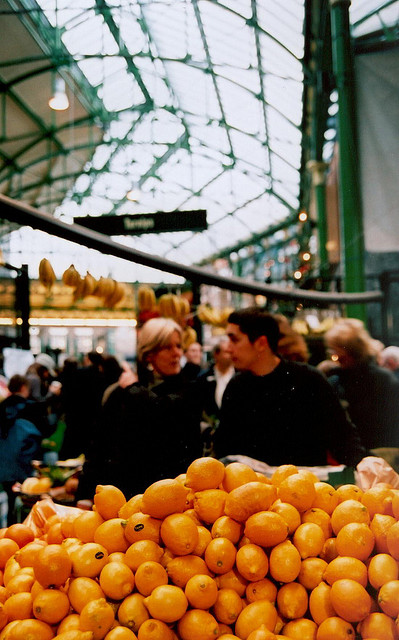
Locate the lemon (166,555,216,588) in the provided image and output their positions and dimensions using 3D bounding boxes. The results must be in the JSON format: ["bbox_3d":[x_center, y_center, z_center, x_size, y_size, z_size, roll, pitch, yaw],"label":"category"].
[{"bbox_3d":[-0.032,0.699,1.917,0.109,0.068,0.074,14,12,2],"label":"lemon"}]

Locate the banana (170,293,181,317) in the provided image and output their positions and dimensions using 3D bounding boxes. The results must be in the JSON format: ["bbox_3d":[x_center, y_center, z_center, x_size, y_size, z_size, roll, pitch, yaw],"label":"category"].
[{"bbox_3d":[-0.129,-0.073,3.530,0.034,0.094,0.068,-10,12,-21],"label":"banana"}]

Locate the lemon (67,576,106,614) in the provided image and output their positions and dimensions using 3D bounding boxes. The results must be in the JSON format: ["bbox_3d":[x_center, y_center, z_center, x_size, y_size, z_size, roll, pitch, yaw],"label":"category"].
[{"bbox_3d":[-0.328,0.761,1.897,0.097,0.075,0.075,33,18,21],"label":"lemon"}]

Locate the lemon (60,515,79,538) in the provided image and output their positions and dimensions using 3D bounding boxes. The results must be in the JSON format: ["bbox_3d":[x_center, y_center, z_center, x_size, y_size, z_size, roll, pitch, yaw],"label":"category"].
[{"bbox_3d":[-0.419,0.659,2.183,0.066,0.079,0.068,1,-2,6],"label":"lemon"}]

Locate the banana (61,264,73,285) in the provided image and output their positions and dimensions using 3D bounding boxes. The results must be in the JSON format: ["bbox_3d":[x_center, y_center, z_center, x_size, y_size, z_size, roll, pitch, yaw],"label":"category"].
[{"bbox_3d":[-0.653,-0.215,3.269,0.052,0.096,0.083,-5,0,-43],"label":"banana"}]

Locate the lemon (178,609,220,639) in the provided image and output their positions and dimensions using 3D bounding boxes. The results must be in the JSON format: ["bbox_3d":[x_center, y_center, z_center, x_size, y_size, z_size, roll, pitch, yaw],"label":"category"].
[{"bbox_3d":[-0.004,0.823,1.825,0.088,0.070,0.068,5,7,8],"label":"lemon"}]

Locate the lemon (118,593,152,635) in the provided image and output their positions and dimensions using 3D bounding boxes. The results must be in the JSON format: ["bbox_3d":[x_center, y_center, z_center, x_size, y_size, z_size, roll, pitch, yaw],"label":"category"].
[{"bbox_3d":[-0.174,0.800,1.861,0.068,0.072,0.091,23,-4,2],"label":"lemon"}]

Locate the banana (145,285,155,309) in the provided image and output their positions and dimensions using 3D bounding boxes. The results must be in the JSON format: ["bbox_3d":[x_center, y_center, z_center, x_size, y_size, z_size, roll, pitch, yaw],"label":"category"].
[{"bbox_3d":[-0.261,-0.127,3.535,0.031,0.094,0.069,2,1,-4],"label":"banana"}]

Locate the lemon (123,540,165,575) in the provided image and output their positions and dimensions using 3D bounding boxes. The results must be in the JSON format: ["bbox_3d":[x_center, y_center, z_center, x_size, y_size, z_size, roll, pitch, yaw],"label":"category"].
[{"bbox_3d":[-0.166,0.679,1.936,0.098,0.079,0.077,-3,-34,0],"label":"lemon"}]

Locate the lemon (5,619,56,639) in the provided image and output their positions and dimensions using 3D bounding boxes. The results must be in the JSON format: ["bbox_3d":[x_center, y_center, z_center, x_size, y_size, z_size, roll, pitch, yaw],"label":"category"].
[{"bbox_3d":[-0.460,0.827,1.836,0.058,0.061,0.080,-15,-21,35],"label":"lemon"}]

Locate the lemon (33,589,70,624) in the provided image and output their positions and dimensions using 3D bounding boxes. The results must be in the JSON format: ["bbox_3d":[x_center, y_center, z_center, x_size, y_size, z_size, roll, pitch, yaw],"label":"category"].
[{"bbox_3d":[-0.415,0.788,1.868,0.074,0.075,0.095,-23,-31,30],"label":"lemon"}]

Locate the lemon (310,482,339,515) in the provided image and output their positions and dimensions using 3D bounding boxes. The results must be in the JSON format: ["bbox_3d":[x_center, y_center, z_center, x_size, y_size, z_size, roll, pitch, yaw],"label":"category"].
[{"bbox_3d":[0.399,0.562,2.132,0.085,0.103,0.087,10,-2,21],"label":"lemon"}]

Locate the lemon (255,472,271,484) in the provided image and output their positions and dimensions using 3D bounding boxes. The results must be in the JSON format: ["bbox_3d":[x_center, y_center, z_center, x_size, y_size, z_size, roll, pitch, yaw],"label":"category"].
[{"bbox_3d":[0.209,0.531,2.249,0.042,0.051,0.043,-15,8,-1],"label":"lemon"}]

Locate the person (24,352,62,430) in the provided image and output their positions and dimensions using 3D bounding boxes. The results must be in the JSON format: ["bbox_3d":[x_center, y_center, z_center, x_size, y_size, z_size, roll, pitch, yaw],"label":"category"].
[{"bbox_3d":[-1.404,0.758,6.057,0.286,0.803,0.251,2,15,16],"label":"person"}]

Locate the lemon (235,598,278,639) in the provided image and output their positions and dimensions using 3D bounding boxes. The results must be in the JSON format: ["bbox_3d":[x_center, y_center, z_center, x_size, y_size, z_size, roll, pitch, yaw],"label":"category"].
[{"bbox_3d":[0.153,0.805,1.867,0.108,0.067,0.078,-25,-7,-14],"label":"lemon"}]

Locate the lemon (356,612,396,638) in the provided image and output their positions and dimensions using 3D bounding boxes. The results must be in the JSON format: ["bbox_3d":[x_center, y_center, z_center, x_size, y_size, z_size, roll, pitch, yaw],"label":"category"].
[{"bbox_3d":[0.480,0.826,1.826,0.080,0.062,0.061,-22,25,22],"label":"lemon"}]

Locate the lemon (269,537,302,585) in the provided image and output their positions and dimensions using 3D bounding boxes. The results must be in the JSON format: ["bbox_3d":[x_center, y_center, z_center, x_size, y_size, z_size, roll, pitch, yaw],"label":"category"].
[{"bbox_3d":[0.240,0.685,1.919,0.082,0.119,0.065,-5,0,-26],"label":"lemon"}]

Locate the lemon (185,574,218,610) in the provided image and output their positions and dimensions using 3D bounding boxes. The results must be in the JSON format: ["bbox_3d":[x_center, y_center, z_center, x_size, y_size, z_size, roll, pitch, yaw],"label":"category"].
[{"bbox_3d":[0.000,0.735,1.866,0.086,0.102,0.086,-4,-11,-21],"label":"lemon"}]

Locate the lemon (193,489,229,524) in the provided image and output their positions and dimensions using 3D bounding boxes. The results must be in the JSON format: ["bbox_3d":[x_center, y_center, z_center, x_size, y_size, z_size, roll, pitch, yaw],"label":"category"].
[{"bbox_3d":[0.031,0.558,2.036,0.104,0.084,0.078,7,-8,-20],"label":"lemon"}]

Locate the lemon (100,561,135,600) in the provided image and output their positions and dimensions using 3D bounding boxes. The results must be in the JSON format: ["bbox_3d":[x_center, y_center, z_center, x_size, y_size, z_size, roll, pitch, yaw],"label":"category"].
[{"bbox_3d":[-0.233,0.728,1.896,0.092,0.110,0.091,-1,-10,-15],"label":"lemon"}]

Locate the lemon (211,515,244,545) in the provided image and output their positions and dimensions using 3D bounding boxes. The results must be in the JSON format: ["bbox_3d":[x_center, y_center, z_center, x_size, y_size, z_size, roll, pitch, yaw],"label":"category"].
[{"bbox_3d":[0.081,0.610,1.979,0.076,0.092,0.079,4,-46,2],"label":"lemon"}]

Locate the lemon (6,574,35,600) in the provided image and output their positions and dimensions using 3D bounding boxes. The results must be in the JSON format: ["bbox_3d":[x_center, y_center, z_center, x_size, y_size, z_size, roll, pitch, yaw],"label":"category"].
[{"bbox_3d":[-0.523,0.781,1.985,0.072,0.056,0.055,-7,-43,4],"label":"lemon"}]

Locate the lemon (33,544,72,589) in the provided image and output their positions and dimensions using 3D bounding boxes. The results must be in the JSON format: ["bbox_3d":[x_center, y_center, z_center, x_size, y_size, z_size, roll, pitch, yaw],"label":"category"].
[{"bbox_3d":[-0.396,0.691,1.924,0.108,0.127,0.111,1,-36,3],"label":"lemon"}]

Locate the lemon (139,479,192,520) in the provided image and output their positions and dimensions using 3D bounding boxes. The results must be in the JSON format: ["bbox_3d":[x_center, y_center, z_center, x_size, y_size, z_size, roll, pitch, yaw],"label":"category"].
[{"bbox_3d":[-0.110,0.543,2.037,0.171,0.115,0.121,-6,6,-22],"label":"lemon"}]

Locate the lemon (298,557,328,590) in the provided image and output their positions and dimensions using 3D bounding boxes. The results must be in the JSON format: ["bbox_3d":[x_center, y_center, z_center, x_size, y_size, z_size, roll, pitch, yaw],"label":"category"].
[{"bbox_3d":[0.324,0.720,1.935,0.078,0.095,0.079,1,-1,43],"label":"lemon"}]

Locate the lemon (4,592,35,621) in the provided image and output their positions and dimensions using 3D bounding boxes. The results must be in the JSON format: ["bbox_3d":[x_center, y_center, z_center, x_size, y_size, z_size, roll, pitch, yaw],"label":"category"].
[{"bbox_3d":[-0.507,0.806,1.902,0.066,0.071,0.084,15,8,-42],"label":"lemon"}]

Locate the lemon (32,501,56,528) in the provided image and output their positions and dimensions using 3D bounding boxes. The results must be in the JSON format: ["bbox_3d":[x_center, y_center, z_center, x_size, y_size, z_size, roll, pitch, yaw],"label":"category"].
[{"bbox_3d":[-0.574,0.701,2.469,0.066,0.088,0.036,9,10,-9],"label":"lemon"}]

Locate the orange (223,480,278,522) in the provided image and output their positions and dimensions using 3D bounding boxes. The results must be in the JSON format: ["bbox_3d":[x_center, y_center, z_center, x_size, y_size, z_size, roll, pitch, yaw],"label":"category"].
[{"bbox_3d":[0.153,0.543,2.025,0.180,0.099,0.096,-18,2,-15],"label":"orange"}]

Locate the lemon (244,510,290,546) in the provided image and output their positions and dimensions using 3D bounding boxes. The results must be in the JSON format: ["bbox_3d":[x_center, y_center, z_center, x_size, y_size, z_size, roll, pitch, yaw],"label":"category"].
[{"bbox_3d":[0.193,0.601,1.950,0.110,0.097,0.078,-5,0,-30],"label":"lemon"}]

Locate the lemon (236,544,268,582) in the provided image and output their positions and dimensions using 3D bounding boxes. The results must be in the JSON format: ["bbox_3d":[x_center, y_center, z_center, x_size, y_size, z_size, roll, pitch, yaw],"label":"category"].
[{"bbox_3d":[0.146,0.671,1.901,0.075,0.078,0.099,-5,8,4],"label":"lemon"}]

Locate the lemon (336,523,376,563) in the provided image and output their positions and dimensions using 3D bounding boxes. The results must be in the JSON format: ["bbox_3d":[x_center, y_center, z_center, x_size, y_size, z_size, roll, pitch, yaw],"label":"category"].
[{"bbox_3d":[0.454,0.650,1.980,0.109,0.129,0.110,-2,-15,6],"label":"lemon"}]
